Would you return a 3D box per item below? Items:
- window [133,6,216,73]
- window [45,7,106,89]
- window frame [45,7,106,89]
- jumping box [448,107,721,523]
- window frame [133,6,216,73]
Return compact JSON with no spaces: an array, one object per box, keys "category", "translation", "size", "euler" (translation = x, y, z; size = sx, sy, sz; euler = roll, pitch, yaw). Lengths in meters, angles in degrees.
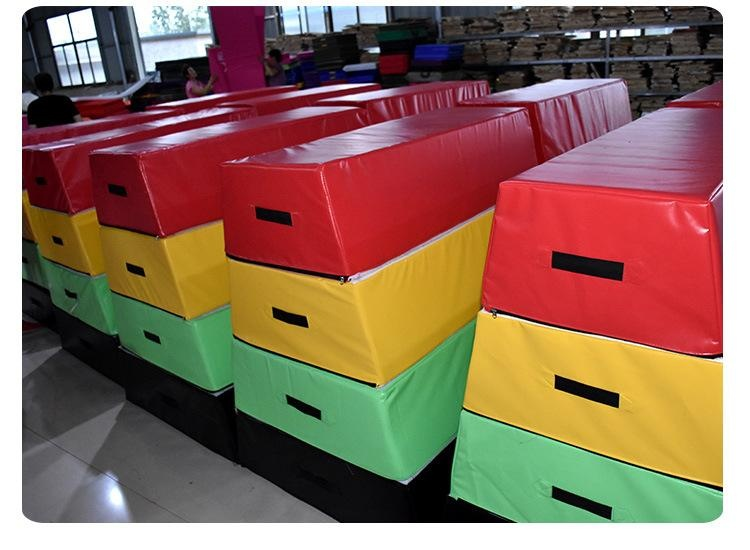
[{"category":"window","translation":[-4.654,-5.501,12.022],"size":[1.417,1.432,2.107],"euler":[-20,25,-34]},{"category":"window","translation":[-7.940,-6.035,14.062],"size":[2.821,1.842,0.446],"euler":[15,29,43]},{"category":"window frame","translation":[-7.947,-6.032,14.055],"size":[0.571,1.842,2.797],"euler":[-23,26,-37]},{"category":"jumping box","translation":[0.536,0.248,1.343],"size":[0.655,0.948,0.271],"euler":[9,26,35]},{"category":"window frame","translation":[-4.665,-5.502,12.031],"size":[1.408,1.431,2.123],"euler":[-21,25,-35]}]
